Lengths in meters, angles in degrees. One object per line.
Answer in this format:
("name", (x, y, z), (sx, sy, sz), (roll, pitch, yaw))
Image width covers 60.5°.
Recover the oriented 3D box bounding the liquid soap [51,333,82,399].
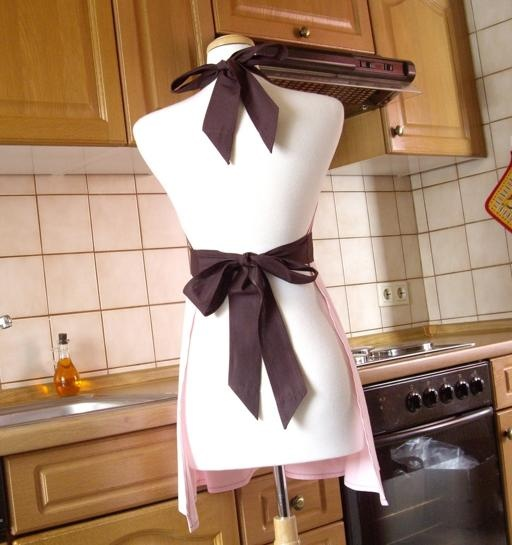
("liquid soap", (-0.536, 0.255, 1.219), (0.063, 0.173, 0.126), (-10, 0, -25))
